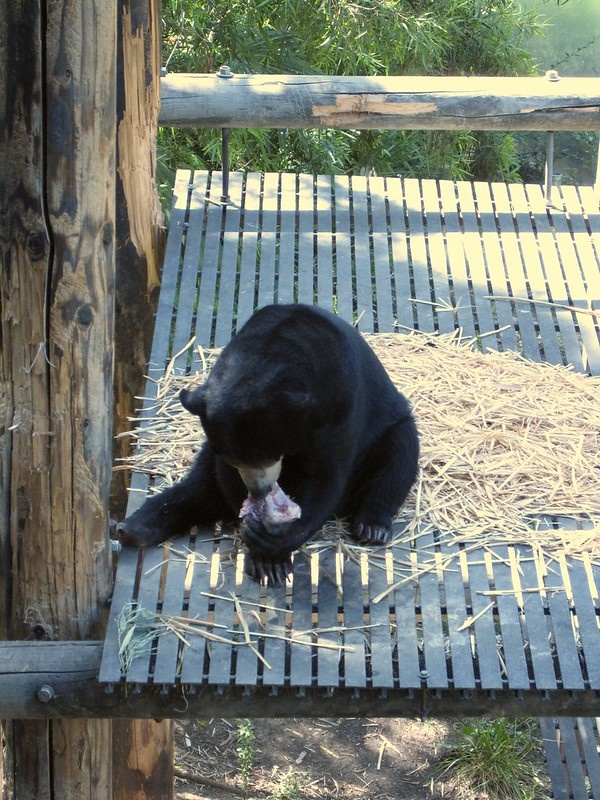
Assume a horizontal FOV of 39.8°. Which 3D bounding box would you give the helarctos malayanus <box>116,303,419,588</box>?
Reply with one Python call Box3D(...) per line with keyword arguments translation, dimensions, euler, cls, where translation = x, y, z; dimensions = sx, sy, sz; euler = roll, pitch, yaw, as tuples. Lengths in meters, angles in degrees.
Box3D(translation=(-0.078, 0.060, 2.477), dimensions=(0.688, 0.642, 1.034), euler=(17, 29, 30), cls="helarctos malayanus")
